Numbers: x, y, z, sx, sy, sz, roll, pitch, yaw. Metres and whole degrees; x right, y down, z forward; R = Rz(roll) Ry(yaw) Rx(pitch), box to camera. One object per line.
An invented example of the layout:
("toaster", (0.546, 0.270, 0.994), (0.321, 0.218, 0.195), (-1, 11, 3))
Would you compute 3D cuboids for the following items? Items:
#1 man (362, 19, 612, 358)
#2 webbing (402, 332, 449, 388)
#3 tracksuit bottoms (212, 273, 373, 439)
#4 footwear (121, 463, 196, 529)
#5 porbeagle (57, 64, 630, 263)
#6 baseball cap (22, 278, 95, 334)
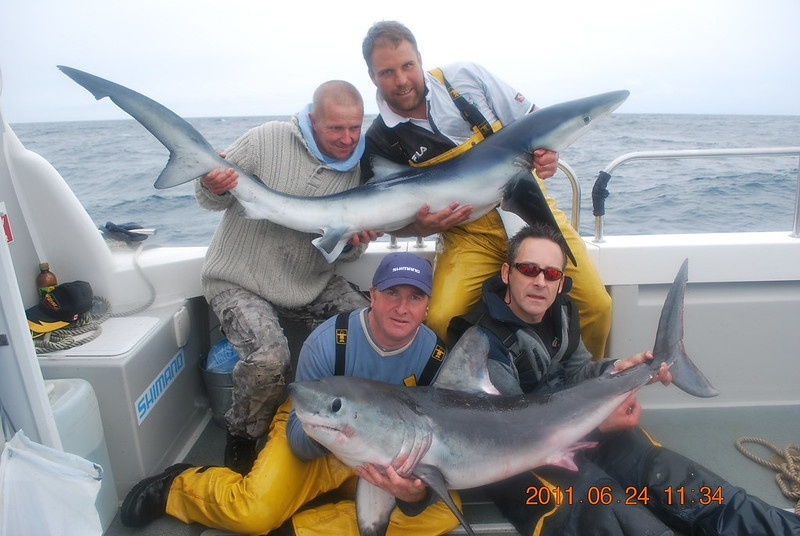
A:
("man", (0.520, -0.613, 4.267), (2.534, 1.300, 0.809), (-27, 47, -4))
("webbing", (0.182, 0.596, 3.530), (0.062, 0.249, 0.256), (31, 15, 13))
("tracksuit bottoms", (-0.812, 0.602, 4.203), (0.907, 1.125, 0.378), (12, -17, 27))
("footwear", (-1.522, 1.400, 3.642), (0.212, 0.196, 0.501), (-6, 29, 50))
("porbeagle", (-0.056, -0.770, 4.143), (3.613, 1.419, 1.206), (-10, 6, -4))
("baseball cap", (-2.307, 0.214, 3.930), (0.292, 0.221, 0.476), (32, 24, 20))
